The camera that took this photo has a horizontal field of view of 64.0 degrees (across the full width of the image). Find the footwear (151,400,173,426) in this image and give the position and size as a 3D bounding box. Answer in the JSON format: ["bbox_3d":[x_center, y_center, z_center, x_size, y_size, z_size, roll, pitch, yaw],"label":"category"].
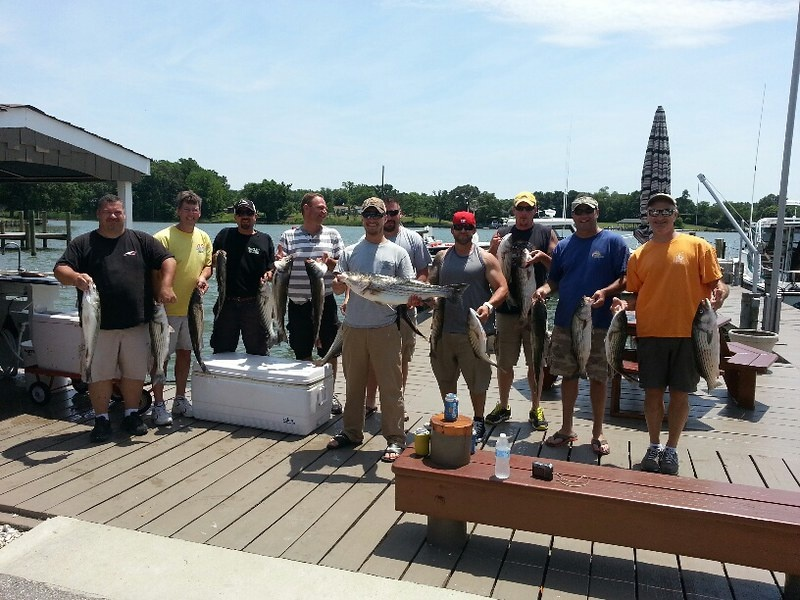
[{"bbox_3d":[-2.499,1.183,6.631,0.327,0.143,0.126,3,1,39],"label":"footwear"}]

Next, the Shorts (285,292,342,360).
[{"bbox_3d":[-0.938,0.264,6.823,0.706,0.953,0.370,-1,18,-9],"label":"Shorts"}]

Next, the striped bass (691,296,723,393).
[{"bbox_3d":[2.644,0.364,5.417,0.172,0.858,0.367,-4,2,-39],"label":"striped bass"}]

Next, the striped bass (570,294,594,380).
[{"bbox_3d":[1.642,0.335,5.786,0.185,0.752,0.174,4,13,14],"label":"striped bass"}]

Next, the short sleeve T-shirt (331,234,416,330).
[{"bbox_3d":[-0.229,-0.161,5.885,0.992,0.972,0.531,1,2,7],"label":"short sleeve T-shirt"}]

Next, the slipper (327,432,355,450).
[{"bbox_3d":[-0.570,1.357,6.143,0.314,0.112,0.114,5,-4,-14],"label":"slipper"}]

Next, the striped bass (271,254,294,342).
[{"bbox_3d":[-1.296,-0.026,6.571,0.157,0.892,0.356,2,4,-4],"label":"striped bass"}]

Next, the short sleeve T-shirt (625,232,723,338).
[{"bbox_3d":[2.332,-0.120,5.533,0.790,0.886,0.477,-4,-3,41],"label":"short sleeve T-shirt"}]

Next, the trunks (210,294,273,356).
[{"bbox_3d":[-1.696,0.254,6.832,0.676,1.005,0.357,0,-3,0],"label":"trunks"}]

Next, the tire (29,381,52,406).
[{"bbox_3d":[-4.048,1.026,7.128,0.289,0.266,0.093,5,13,17],"label":"tire"}]

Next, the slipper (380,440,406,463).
[{"bbox_3d":[-0.071,1.380,5.915,0.219,0.130,0.307,2,13,3],"label":"slipper"}]

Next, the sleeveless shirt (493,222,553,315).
[{"bbox_3d":[1.258,-0.129,6.599,0.687,1.278,0.341,6,-5,0],"label":"sleeveless shirt"}]

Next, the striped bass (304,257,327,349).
[{"bbox_3d":[-0.882,0.060,6.653,0.214,0.997,0.378,-1,13,-7],"label":"striped bass"}]

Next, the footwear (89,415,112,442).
[{"bbox_3d":[-2.924,1.258,6.210,0.128,0.130,0.300,4,-1,-26],"label":"footwear"}]

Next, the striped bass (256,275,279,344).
[{"bbox_3d":[-1.372,0.134,6.610,0.179,0.741,0.294,0,13,-5],"label":"striped bass"}]

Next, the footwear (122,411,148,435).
[{"bbox_3d":[-2.659,1.221,6.363,0.296,0.177,0.156,9,11,31],"label":"footwear"}]

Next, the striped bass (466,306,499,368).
[{"bbox_3d":[0.742,0.342,5.847,0.253,0.595,0.405,3,13,8],"label":"striped bass"}]

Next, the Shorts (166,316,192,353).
[{"bbox_3d":[-2.342,0.337,6.693,0.219,0.386,0.310,5,16,18],"label":"Shorts"}]

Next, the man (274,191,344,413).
[{"bbox_3d":[-0.967,0.029,6.903,0.754,2.207,0.715,-1,17,-2],"label":"man"}]

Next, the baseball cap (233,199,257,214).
[{"bbox_3d":[-1.654,-0.980,6.756,0.154,0.116,0.216,-4,2,-9],"label":"baseball cap"}]

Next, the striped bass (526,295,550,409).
[{"bbox_3d":[1.374,0.453,6.137,0.190,1.128,0.309,4,-6,1],"label":"striped bass"}]

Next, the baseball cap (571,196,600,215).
[{"bbox_3d":[1.714,-0.893,5.918,0.233,0.145,0.322,5,13,15],"label":"baseball cap"}]

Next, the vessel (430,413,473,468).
[{"bbox_3d":[0.374,1.042,4.778,0.334,0.297,0.313,2,7,0],"label":"vessel"}]

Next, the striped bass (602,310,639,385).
[{"bbox_3d":[2.101,0.450,6.099,0.366,0.844,0.189,8,17,29],"label":"striped bass"}]

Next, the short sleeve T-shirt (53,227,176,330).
[{"bbox_3d":[-2.822,-0.246,6.384,1.091,0.914,0.422,-7,8,-36],"label":"short sleeve T-shirt"}]

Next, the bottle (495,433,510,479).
[{"bbox_3d":[0.724,1.060,4.520,0.105,0.315,0.294,3,13,9],"label":"bottle"}]

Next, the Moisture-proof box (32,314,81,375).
[{"bbox_3d":[-4.017,0.486,7.055,0.469,0.594,0.844,-6,-7,7],"label":"Moisture-proof box"}]

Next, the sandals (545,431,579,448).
[{"bbox_3d":[1.548,1.332,6.150,0.249,0.101,0.138,0,-4,-3],"label":"sandals"}]

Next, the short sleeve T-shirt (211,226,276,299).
[{"bbox_3d":[-1.718,-0.385,6.920,0.786,0.742,0.375,0,9,-30],"label":"short sleeve T-shirt"}]

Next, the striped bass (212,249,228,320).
[{"bbox_3d":[-1.889,-0.159,6.683,0.151,0.706,0.300,4,-7,-6],"label":"striped bass"}]
